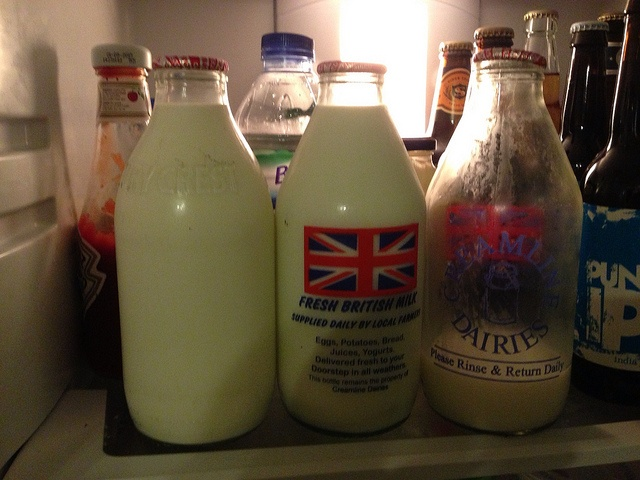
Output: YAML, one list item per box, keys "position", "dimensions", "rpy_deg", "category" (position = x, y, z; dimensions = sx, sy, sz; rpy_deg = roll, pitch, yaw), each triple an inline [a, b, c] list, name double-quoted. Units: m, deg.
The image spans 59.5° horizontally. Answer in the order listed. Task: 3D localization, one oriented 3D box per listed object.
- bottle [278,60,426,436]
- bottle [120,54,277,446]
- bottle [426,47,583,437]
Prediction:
- position: [0.030, 0.031, 0.559]
  dimensions: [0.138, 0.321, 0.075]
  rpy_deg: [0, 15, 3]
  category: "bottle"
- position: [-0.120, 0.034, 0.559]
  dimensions: [0.146, 0.329, 0.081]
  rpy_deg: [-4, 15, -9]
  category: "bottle"
- position: [0.179, 0.004, 0.564]
  dimensions: [0.143, 0.375, 0.083]
  rpy_deg: [4, 16, 18]
  category: "bottle"
